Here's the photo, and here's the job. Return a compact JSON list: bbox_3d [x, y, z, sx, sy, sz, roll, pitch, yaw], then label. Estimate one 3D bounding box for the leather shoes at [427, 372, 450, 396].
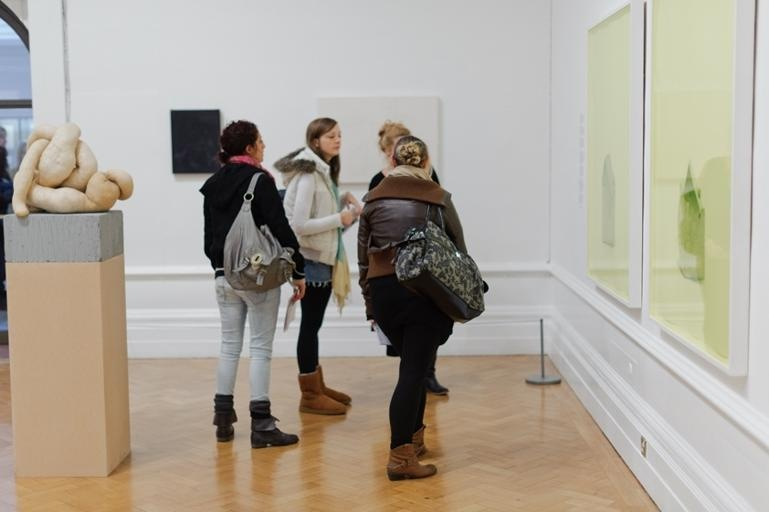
[{"bbox_3d":[0.422,1.176,5.945,0.110,0.194,0.279,4,-6,-37],"label":"leather shoes"}]
